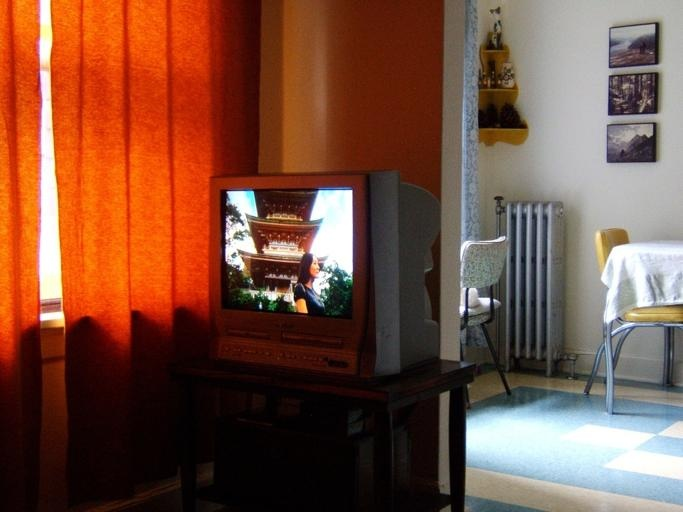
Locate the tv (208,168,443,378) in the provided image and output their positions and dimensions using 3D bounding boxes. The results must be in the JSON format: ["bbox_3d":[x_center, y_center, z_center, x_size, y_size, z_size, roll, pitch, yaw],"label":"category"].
[{"bbox_3d":[-0.081,0.058,2.270,0.741,0.674,0.606,0,2,27],"label":"tv"}]

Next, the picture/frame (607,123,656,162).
[{"bbox_3d":[2.186,-0.844,4.469,0.282,0.263,0.030,3,6,38],"label":"picture/frame"}]

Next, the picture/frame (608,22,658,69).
[{"bbox_3d":[2.196,-1.560,4.459,0.346,0.322,0.048,2,2,41],"label":"picture/frame"}]

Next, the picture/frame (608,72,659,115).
[{"bbox_3d":[2.205,-1.263,4.537,0.309,0.328,0.187,5,38,32],"label":"picture/frame"}]
